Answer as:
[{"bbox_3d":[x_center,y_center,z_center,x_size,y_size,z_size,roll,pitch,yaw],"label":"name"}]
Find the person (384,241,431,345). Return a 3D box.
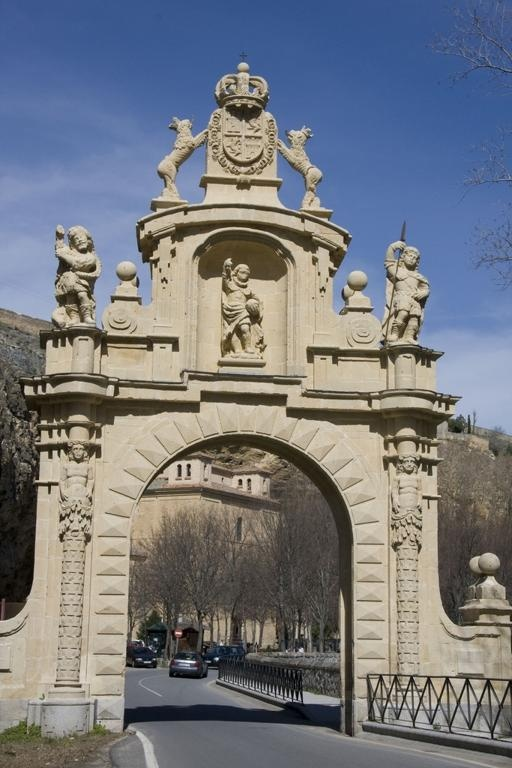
[{"bbox_3d":[3.330,-2.048,28.834,0.961,2.410,0.619,0,-12,4],"label":"person"}]

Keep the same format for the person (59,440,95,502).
[{"bbox_3d":[-3.714,1.884,26.839,0.685,1.246,0.441,3,-12,-9],"label":"person"}]

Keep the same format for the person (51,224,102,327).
[{"bbox_3d":[-3.820,-2.311,27.645,0.938,2.318,0.670,3,-12,-9],"label":"person"}]

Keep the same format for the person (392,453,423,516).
[{"bbox_3d":[3.245,2.227,27.900,0.599,1.301,0.399,0,-12,5],"label":"person"}]

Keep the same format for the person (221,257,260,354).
[{"bbox_3d":[-0.307,-1.745,29.736,0.969,2.406,0.599,2,-12,-3],"label":"person"}]
